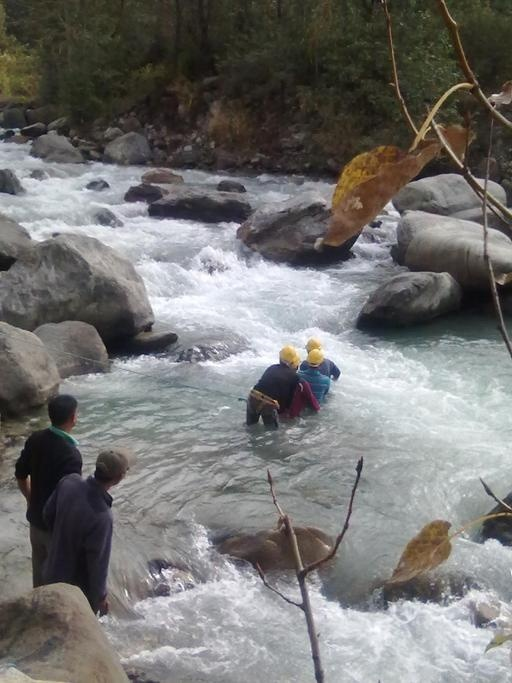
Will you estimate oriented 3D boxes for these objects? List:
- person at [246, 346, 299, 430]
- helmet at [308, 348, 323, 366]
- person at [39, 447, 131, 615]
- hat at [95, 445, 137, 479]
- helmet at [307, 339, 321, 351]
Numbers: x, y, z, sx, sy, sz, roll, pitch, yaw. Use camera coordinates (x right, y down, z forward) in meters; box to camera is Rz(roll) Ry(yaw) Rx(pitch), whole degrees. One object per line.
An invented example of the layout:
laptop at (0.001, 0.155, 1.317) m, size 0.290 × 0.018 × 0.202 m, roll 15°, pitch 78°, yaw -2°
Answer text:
person at (0.179, 0.677, 7.972) m, size 0.539 × 1.386 × 0.465 m, roll 6°, pitch 31°, yaw -10°
helmet at (0.758, 0.202, 8.489) m, size 0.173 × 0.169 × 0.207 m, roll 8°, pitch 38°, yaw 9°
person at (-1.023, 1.101, 3.968) m, size 0.417 × 0.914 × 0.458 m, roll 6°, pitch 21°, yaw 16°
hat at (-0.844, 0.710, 3.980) m, size 0.147 × 0.127 × 0.228 m, roll 24°, pitch 31°, yaw 12°
helmet at (0.765, 0.027, 8.950) m, size 0.189 × 0.157 × 0.134 m, roll -20°, pitch 32°, yaw 19°
